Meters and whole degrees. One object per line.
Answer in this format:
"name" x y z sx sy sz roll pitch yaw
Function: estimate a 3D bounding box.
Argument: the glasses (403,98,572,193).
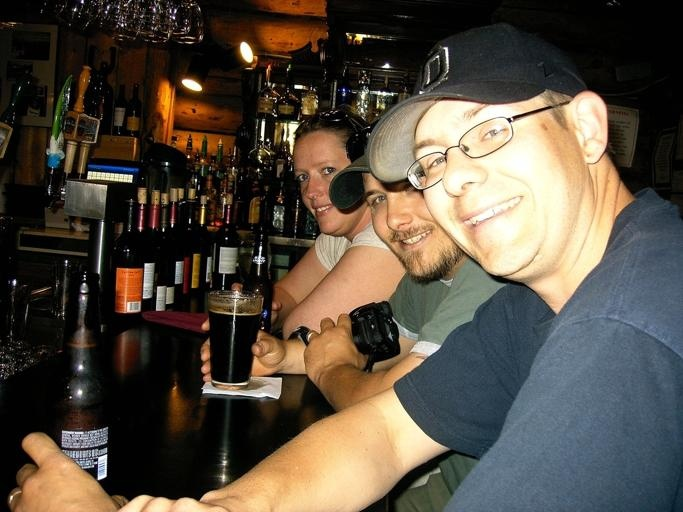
"glasses" 0.265 -0.223 1.183 0.204 0.054 0.192 -30 7 -32

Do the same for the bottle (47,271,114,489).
"bottle" -0.469 0.217 1.082 0.105 0.339 0.197 4 10 -23

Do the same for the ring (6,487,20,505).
"ring" -0.546 0.401 0.977 0.006 0.021 0.022 19 10 -13

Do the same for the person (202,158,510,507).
"person" 0.245 0.188 1.816 1.013 0.589 0.942 -15 15 -27

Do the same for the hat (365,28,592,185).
"hat" 0.298 -0.304 1.249 0.443 0.215 0.325 -1 -2 -13

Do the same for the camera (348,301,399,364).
"camera" 0.102 0.224 1.802 0.186 0.164 0.175 -9 -4 14

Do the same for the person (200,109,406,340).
"person" -0.058 -0.147 2.708 1.016 1.040 0.707 0 -2 -6

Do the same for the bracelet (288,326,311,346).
"bracelet" -0.137 0.253 1.852 0.062 0.065 0.043 -18 10 18
